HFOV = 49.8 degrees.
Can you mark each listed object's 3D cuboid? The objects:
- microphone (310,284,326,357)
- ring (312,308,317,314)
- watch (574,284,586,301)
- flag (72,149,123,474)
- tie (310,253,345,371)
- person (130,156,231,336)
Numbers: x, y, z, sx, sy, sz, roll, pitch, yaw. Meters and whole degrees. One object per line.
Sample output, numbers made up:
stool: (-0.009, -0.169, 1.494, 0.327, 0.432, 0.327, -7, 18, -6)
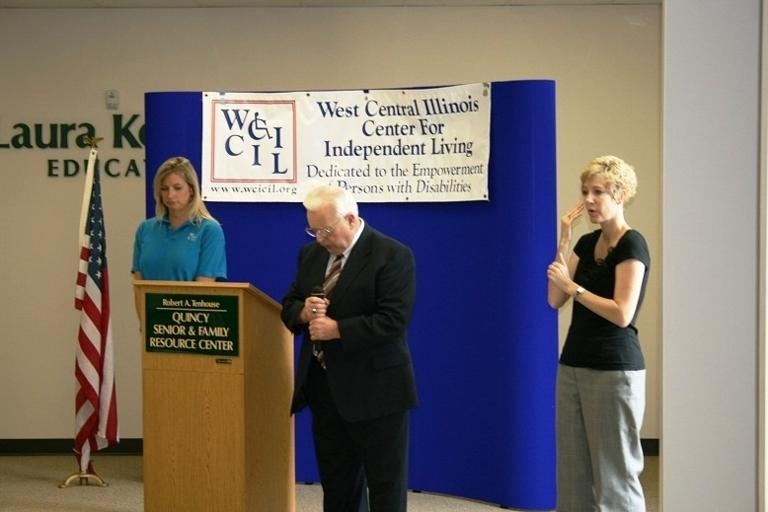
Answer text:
microphone: (-0.384, 0.387, 4.910, 0.082, 0.422, 0.162, -2, 4, -5)
ring: (-0.406, 0.325, 4.818, 0.026, 0.028, 0.024, 2, 1, 0)
watch: (1.138, 0.217, 4.816, 0.049, 0.081, 0.081, 12, 48, 20)
flag: (-2.280, 0.437, 6.409, 0.309, 2.549, 0.331, -3, 4, -23)
tie: (-0.327, 0.262, 4.953, 0.128, 0.822, 0.143, 6, -13, -1)
person: (-1.449, -0.247, 5.678, 0.675, 0.861, 0.435, -2, 4, -4)
